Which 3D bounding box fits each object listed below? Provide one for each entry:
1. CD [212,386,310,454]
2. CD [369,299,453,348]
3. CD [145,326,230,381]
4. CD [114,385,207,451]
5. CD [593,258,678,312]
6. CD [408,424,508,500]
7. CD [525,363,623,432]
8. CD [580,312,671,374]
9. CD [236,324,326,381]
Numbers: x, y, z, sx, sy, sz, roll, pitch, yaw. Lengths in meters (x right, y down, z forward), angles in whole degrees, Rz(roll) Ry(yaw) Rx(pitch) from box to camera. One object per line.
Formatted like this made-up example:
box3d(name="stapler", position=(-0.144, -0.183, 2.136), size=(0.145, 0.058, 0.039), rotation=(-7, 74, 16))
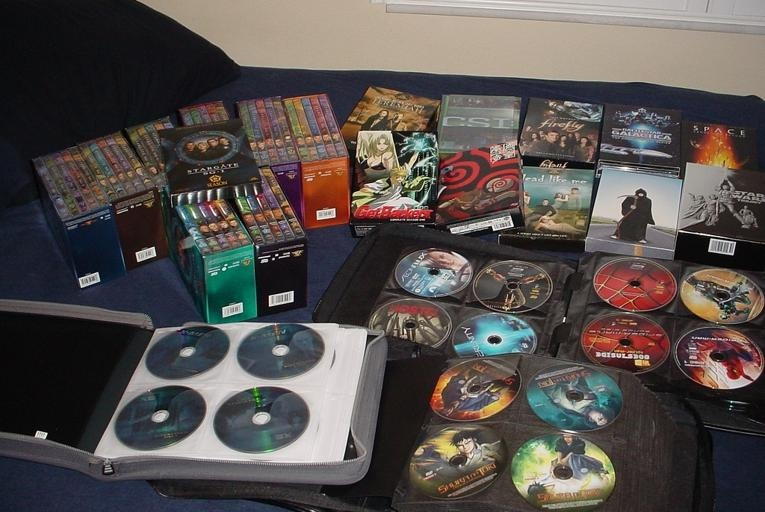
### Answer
box3d(name="CD", position=(-0.281, 0.382, 1.271), size=(0.219, 0.052, 0.155), rotation=(2, 33, 6))
box3d(name="CD", position=(0.095, 0.193, 1.652), size=(0.239, 0.052, 0.165), rotation=(16, 37, 27))
box3d(name="CD", position=(-0.501, 0.251, 1.412), size=(0.199, 0.193, 0.008), rotation=(-35, 49, -8))
box3d(name="CD", position=(-0.523, 0.383, 1.291), size=(0.204, 0.052, 0.156), rotation=(-16, 35, -20))
box3d(name="CD", position=(0.765, 0.087, 1.670), size=(0.238, 0.075, 0.194), rotation=(6, 34, 13))
box3d(name="CD", position=(0.175, 0.483, 1.281), size=(0.222, 0.060, 0.168), rotation=(2, 33, 6))
box3d(name="CD", position=(0.470, 0.351, 1.355), size=(0.223, 0.048, 0.184), rotation=(6, 34, 13))
box3d(name="CD", position=(0.692, 0.244, 1.566), size=(0.232, 0.072, 0.195), rotation=(14, 37, 24))
box3d(name="CD", position=(-0.258, 0.244, 1.392), size=(0.221, 0.040, 0.165), rotation=(-3, 33, -1))
